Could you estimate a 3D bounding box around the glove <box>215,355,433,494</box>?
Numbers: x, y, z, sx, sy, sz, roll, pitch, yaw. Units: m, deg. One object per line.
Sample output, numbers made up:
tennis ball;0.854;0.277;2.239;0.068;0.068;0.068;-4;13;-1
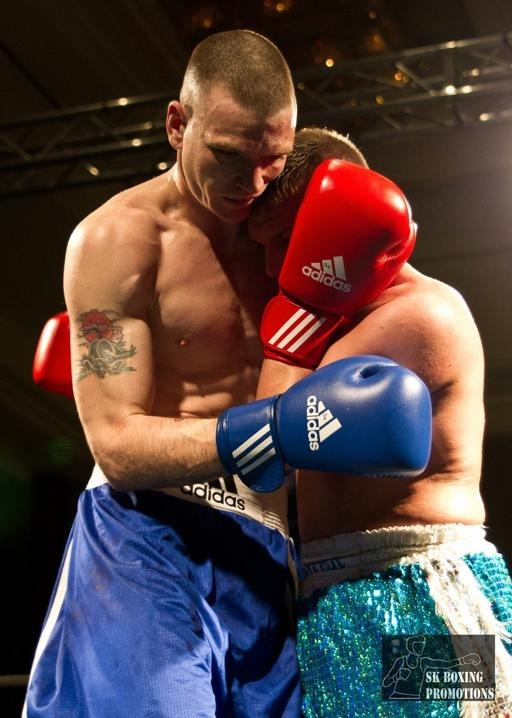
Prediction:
glove;0.101;0.085;1.018;0.309;0.124;0.155;-7;66;27
